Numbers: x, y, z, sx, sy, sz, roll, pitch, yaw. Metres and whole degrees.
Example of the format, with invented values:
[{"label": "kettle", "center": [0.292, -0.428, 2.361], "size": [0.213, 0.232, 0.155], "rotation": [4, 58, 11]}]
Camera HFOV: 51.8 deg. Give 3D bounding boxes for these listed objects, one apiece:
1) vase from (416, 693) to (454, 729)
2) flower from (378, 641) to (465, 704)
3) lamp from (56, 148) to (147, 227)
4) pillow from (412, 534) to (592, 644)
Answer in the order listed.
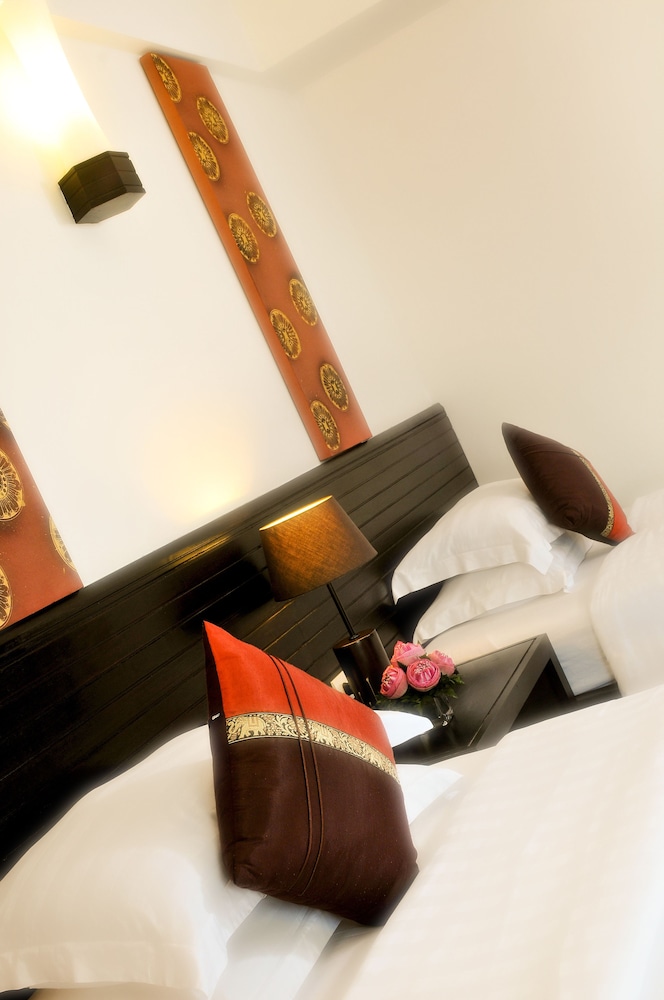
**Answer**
[{"label": "vase", "center": [0.242, 0.500, 1.619], "size": [0.045, 0.046, 0.080], "rotation": [-64, 26, 24]}, {"label": "flower", "center": [0.222, 0.421, 1.676], "size": [0.142, 0.127, 0.147], "rotation": [-12, 2, 33]}, {"label": "lamp", "center": [-0.595, -0.783, 1.832], "size": [0.210, 0.133, 0.160], "rotation": [-25, -1, 14]}, {"label": "pillow", "center": [0.548, 0.273, 2.205], "size": [0.415, 0.100, 0.394], "rotation": [-32, -4, -9]}]
